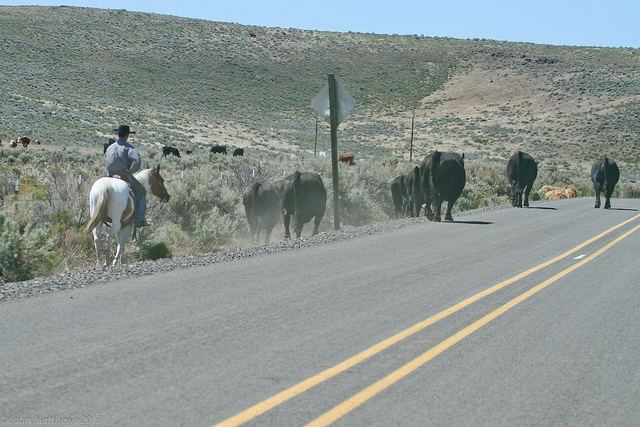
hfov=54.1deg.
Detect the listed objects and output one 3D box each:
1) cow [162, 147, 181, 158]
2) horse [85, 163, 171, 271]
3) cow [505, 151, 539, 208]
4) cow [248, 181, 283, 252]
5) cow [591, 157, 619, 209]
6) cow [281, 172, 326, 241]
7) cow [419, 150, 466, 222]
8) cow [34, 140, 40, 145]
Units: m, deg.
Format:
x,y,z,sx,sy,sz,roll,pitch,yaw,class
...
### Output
x,y,z,sx,sy,sz,roll,pitch,yaw,class
-11.362,-4.778,47.939,1.142,0.652,2.223,2,2,-15,cow
-4.410,0.106,14.304,0.865,2.304,3.268,6,2,7,horse
7.894,-1.322,24.544,1.093,2.192,1.613,3,3,18,cow
-1.748,0.007,19.759,0.940,1.991,1.230,2,3,-7,cow
11.681,-1.426,25.967,1.031,1.983,3.669,2,10,20,cow
-0.697,-0.390,20.106,1.149,2.059,3.660,1,7,-1,cow
3.797,-0.880,19.817,0.963,2.269,1.327,0,4,-42,cow
-20.879,-5.239,46.283,0.230,0.451,0.853,0,-6,-19,cow
